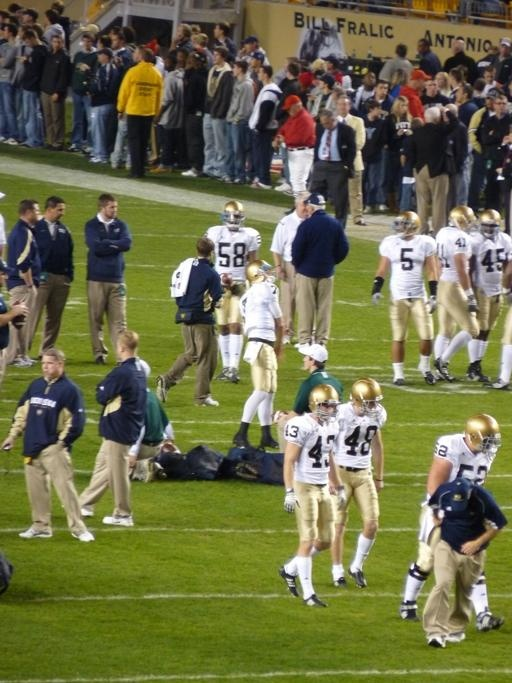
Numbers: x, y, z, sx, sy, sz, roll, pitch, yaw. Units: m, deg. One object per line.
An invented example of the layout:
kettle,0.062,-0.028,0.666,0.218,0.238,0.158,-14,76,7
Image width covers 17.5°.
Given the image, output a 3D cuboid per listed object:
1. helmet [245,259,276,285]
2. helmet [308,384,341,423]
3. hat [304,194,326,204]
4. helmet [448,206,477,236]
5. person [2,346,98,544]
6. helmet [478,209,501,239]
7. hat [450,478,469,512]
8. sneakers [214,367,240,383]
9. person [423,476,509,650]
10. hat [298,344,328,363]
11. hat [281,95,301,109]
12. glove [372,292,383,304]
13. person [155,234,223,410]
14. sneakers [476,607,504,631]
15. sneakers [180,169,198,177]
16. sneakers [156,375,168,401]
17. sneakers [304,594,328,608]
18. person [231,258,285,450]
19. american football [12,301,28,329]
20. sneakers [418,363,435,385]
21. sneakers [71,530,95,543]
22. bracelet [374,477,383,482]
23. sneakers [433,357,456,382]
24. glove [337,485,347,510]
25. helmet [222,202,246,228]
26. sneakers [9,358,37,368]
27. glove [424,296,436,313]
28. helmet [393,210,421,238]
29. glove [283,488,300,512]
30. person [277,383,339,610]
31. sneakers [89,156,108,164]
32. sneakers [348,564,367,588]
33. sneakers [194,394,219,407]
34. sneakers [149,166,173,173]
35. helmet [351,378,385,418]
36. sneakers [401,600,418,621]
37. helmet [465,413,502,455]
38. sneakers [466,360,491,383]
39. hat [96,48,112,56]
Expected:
helmet,0.027,-0.629,15.336,0.265,0.237,0.200,-15,13,-5
helmet,0.448,0.418,11.004,0.183,0.255,0.244,1,1,-26
hat,0.598,-1.457,17.127,0.201,0.125,0.332,3,9,-1
helmet,2.156,-1.262,17.349,0.277,0.286,0.394,6,9,17
person,-1.501,0.769,11.931,0.623,1.417,0.484,3,9,3
helmet,2.480,-1.225,17.304,0.207,0.285,0.275,-1,11,-1
hat,1.253,0.949,10.201,0.112,0.181,0.080,7,-26,13
sneakers,-0.313,0.357,17.510,0.106,0.145,0.313,11,0,-37
person,1.297,1.385,10.392,0.473,1.105,0.419,3,9,4
hat,0.415,0.101,12.606,0.195,0.085,0.130,26,24,22
hat,0.530,-3.721,25.953,0.297,0.180,0.213,0,19,11
glove,1.267,-0.449,17.472,0.106,0.144,0.193,6,5,14
person,-0.635,-0.161,15.978,0.595,1.628,0.489,3,9,-2
sneakers,1.508,1.770,10.607,0.228,0.124,0.085,-16,21,43
sneakers,-1.273,-3.109,30.712,0.139,0.172,0.379,-5,14,-31
sneakers,-0.919,0.465,16.091,0.112,0.251,0.090,-8,11,-28
sneakers,0.402,1.725,11.089,0.137,0.069,0.078,2,18,10
person,0.019,0.153,14.909,0.397,1.622,1.113,3,9,-1
american football,-2.032,-0.230,14.050,0.109,0.249,0.283,4,8,-3
sneakers,1.805,0.320,17.632,0.102,0.123,0.291,-9,46,-18
sneakers,-1.277,1.417,12.123,0.172,0.072,0.076,2,-29,12
bracelet,0.880,0.995,11.916,0.051,0.013,0.038,6,-7,40
sneakers,2.038,0.306,17.899,0.231,0.263,0.333,4,9,6
glove,0.583,1.073,11.358,0.046,0.143,0.101,10,3,18
helmet,-0.251,-1.319,17.314,0.208,0.262,0.338,2,9,-4
sneakers,-2.435,0.240,17.103,0.262,0.092,0.115,-1,-34,5
glove,1.792,-0.373,17.114,0.110,0.156,0.061,16,-5,-17
helmet,1.549,-1.192,17.003,0.245,0.260,0.300,3,9,3
glove,0.231,1.067,11.107,0.084,0.175,0.147,3,9,-2
person,0.396,1.027,11.131,0.473,1.478,0.406,-1,9,-23
sneakers,-2.971,-3.393,30.931,0.369,0.139,0.159,1,-16,-6
sneakers,0.719,1.656,11.665,0.065,0.085,0.190,22,22,-40
sneakers,-0.496,0.587,16.180,0.241,0.117,0.098,6,43,-6
sneakers,-1.820,-3.189,31.051,0.427,0.149,0.182,-2,-29,-11
helmet,0.757,0.395,11.475,0.204,0.243,0.236,3,9,2
sneakers,0.999,1.763,10.838,0.065,0.138,0.192,0,-1,-31
helmet,1.434,0.569,10.493,0.234,0.243,0.187,13,19,30
sneakers,2.427,0.323,18.097,0.299,0.298,0.130,11,16,10
hat,-2.741,-5.089,29.336,0.244,0.131,0.152,13,44,6
